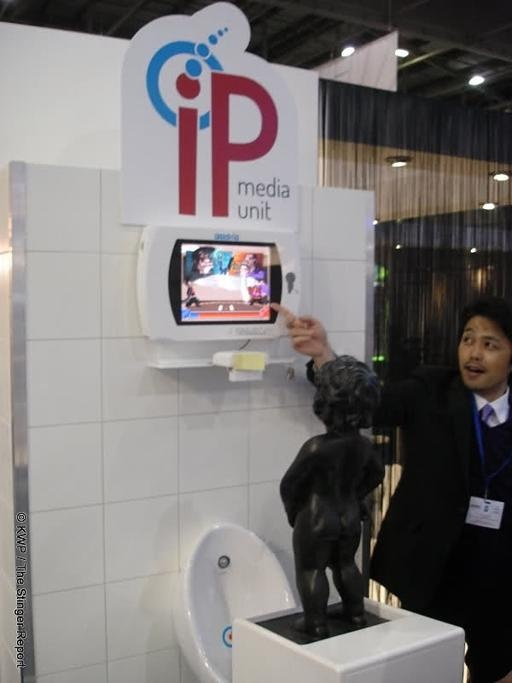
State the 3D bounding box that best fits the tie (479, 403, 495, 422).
[{"bbox_3d":[0.704,0.211,1.929,0.034,0.055,0.015,9,-2,9],"label":"tie"}]
